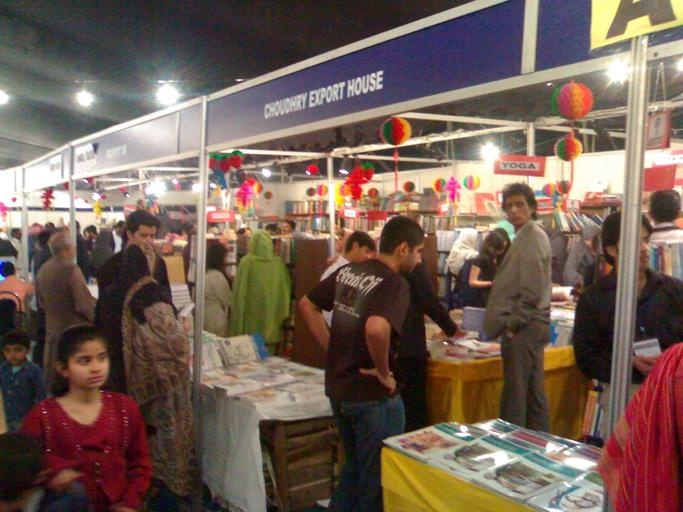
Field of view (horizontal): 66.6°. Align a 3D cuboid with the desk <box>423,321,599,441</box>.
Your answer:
[{"bbox_3d":[1.190,0.873,4.100,1.272,0.659,0.913,-1,3,-36],"label":"desk"}]
